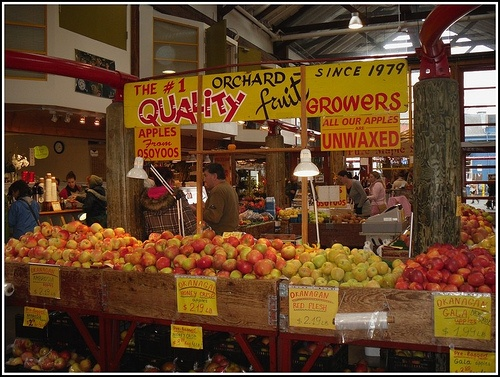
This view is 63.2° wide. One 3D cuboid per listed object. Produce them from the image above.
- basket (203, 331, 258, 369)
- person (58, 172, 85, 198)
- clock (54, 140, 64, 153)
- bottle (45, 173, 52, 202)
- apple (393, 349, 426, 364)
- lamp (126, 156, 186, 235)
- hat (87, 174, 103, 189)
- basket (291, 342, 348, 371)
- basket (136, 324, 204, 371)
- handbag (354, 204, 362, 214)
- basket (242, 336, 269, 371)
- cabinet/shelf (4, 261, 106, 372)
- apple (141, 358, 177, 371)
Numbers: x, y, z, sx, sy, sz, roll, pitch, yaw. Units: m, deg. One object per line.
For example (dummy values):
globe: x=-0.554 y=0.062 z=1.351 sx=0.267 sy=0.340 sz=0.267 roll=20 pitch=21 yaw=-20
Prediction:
basket: x=-0.172 y=1.257 z=3.175 sx=0.289 sy=0.186 sz=0.298 roll=-2 pitch=-13 yaw=15
person: x=-4.913 y=-0.102 z=11.054 sx=0.632 sy=0.975 sz=0.642 roll=-2 pitch=11 yaw=-21
clock: x=-6.349 y=-1.395 z=13.475 sx=0.077 sy=0.443 sz=0.394 roll=0 pitch=1 yaw=32
bottle: x=-4.223 y=-0.030 z=8.472 sx=0.143 sy=0.583 sz=0.335 roll=-1 pitch=1 yaw=-27
apple: x=1.148 y=1.204 z=2.926 sx=0.165 sy=0.059 sz=0.132 roll=-2 pitch=-6 yaw=11
lamp: x=-1.171 y=0.094 z=5.009 sx=0.637 sy=0.900 sz=1.706 roll=-1 pitch=1 yaw=-16
hat: x=-2.758 y=-0.130 z=7.177 sx=0.273 sy=0.233 sz=0.210 roll=1 pitch=6 yaw=23
basket: x=0.511 y=1.233 z=2.990 sx=0.337 sy=0.122 sz=0.251 roll=0 pitch=-4 yaw=10
basket: x=-0.688 y=1.280 z=3.208 sx=0.281 sy=0.225 sz=0.508 roll=1 pitch=1 yaw=9
handbag: x=2.426 y=0.454 z=9.120 sx=0.173 sy=0.195 sz=0.179 roll=0 pitch=3 yaw=3
basket: x=-0.008 y=1.170 z=2.903 sx=0.055 sy=0.235 sz=0.231 roll=-19 pitch=-15 yaw=-1
cabinet/shelf: x=-1.631 y=1.066 z=3.443 sx=0.869 sy=0.628 sz=0.503 roll=-1 pitch=-5 yaw=23
apple: x=-0.700 y=1.404 z=3.192 sx=0.182 sy=0.082 sz=0.118 roll=-1 pitch=-3 yaw=3
